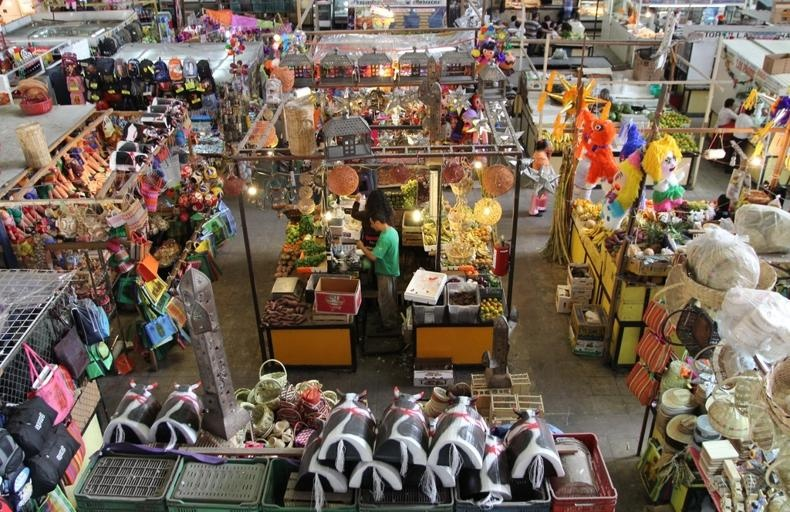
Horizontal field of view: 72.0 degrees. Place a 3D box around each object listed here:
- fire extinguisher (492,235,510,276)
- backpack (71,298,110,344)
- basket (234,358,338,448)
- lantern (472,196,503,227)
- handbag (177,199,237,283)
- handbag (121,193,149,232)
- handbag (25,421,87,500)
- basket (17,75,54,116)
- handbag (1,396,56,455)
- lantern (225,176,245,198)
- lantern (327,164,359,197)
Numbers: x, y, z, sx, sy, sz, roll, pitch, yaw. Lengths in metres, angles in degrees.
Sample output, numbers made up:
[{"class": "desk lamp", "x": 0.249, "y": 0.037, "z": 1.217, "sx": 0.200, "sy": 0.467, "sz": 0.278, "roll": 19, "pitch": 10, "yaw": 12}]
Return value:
[{"class": "fire extinguisher", "x": 1.846, "y": 0.019, "z": 9.290, "sx": 0.347, "sy": 0.588, "sz": 0.257, "roll": -9, "pitch": 24, "yaw": -15}, {"class": "backpack", "x": -3.392, "y": 0.731, "z": 6.133, "sx": 0.242, "sy": 0.533, "sz": 0.531, "roll": -11, "pitch": 33, "yaw": -16}, {"class": "basket", "x": -1.436, "y": 1.896, "z": 6.729, "sx": 1.169, "sy": 0.538, "sz": 0.970, "roll": 18, "pitch": 48, "yaw": 21}, {"class": "lantern", "x": 1.599, "y": -0.820, "z": 9.574, "sx": 0.472, "sy": 0.288, "sz": 0.526, "roll": 7, "pitch": 58, "yaw": 3}, {"class": "handbag", "x": -3.386, "y": -0.290, "z": 10.011, "sx": 0.433, "sy": 1.280, "sz": 1.278, "roll": -2, "pitch": 17, "yaw": 12}, {"class": "handbag", "x": -3.887, "y": -0.624, "z": 8.095, "sx": 0.354, "sy": 0.534, "sz": 0.324, "roll": 36, "pitch": 41, "yaw": 11}, {"class": "handbag", "x": -3.205, "y": 1.916, "z": 5.145, "sx": 0.248, "sy": 0.392, "sz": 0.626, "roll": -14, "pitch": 35, "yaw": 14}, {"class": "basket", "x": -5.524, "y": -2.497, "z": 8.563, "sx": 0.602, "sy": 0.649, "sz": 0.646, "roll": -4, "pitch": 8, "yaw": -37}, {"class": "handbag", "x": -3.402, "y": 1.585, "z": 5.032, "sx": 0.228, "sy": 0.304, "sz": 0.418, "roll": -26, "pitch": 25, "yaw": -2}, {"class": "lantern", "x": -2.214, "y": -0.972, "z": 7.703, "sx": 0.336, "sy": 0.267, "sz": 0.269, "roll": 7, "pitch": 3, "yaw": 39}, {"class": "lantern", "x": -0.705, "y": -1.041, "z": 7.558, "sx": 0.419, "sy": 0.419, "sz": 0.231, "roll": 7, "pitch": 8, "yaw": 9}]
